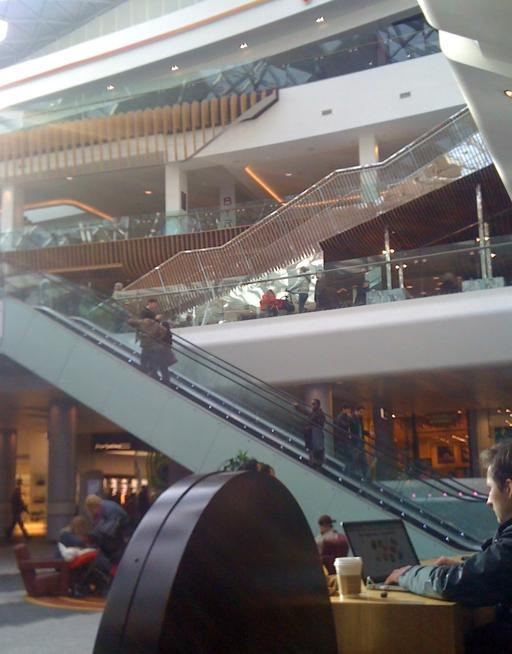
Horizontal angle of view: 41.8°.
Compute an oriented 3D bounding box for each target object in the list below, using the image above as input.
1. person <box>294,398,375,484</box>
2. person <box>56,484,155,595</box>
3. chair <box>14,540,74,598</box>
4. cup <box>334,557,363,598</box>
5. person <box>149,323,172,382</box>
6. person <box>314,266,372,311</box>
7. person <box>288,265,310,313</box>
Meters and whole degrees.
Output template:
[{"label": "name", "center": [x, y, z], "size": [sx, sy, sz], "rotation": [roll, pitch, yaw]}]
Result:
[{"label": "person", "center": [1.001, 1.444, 8.714], "size": [0.866, 1.010, 1.745], "rotation": [-4, -9, 8]}, {"label": "person", "center": [-1.648, 2.189, 6.771], "size": [0.658, 0.909, 0.537], "rotation": [-2, -10, -7]}, {"label": "chair", "center": [-2.085, 2.423, 6.695], "size": [0.668, 0.556, 0.459], "rotation": [3, -5, -10]}, {"label": "cup", "center": [0.305, 0.787, 2.114], "size": [0.120, 0.106, 0.109], "rotation": [-2, -11, 0]}, {"label": "person", "center": [-1.398, 0.400, 9.698], "size": [0.307, 0.226, 0.867], "rotation": [3, 27, -7]}, {"label": "person", "center": [1.511, -0.630, 11.423], "size": [1.250, 0.777, 0.662], "rotation": [0, 4, 35]}, {"label": "person", "center": [0.777, -0.621, 11.673], "size": [0.444, 0.778, 0.148], "rotation": [-12, -13, 40]}]
